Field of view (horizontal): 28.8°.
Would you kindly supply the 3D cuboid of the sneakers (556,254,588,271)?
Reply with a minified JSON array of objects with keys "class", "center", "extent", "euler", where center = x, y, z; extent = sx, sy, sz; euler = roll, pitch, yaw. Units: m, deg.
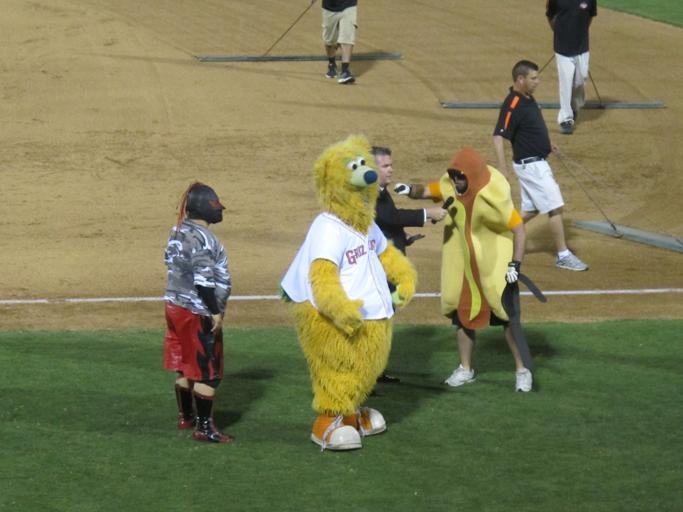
[{"class":"sneakers","center":[3.411,0.081,19.720],"extent":[0.458,0.175,0.217],"euler":[4,13,8]}]

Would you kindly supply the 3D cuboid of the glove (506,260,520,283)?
[{"class":"glove","center":[1.974,0.171,15.344],"extent":[0.180,0.222,0.119],"euler":[13,16,42]}]

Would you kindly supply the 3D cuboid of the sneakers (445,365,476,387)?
[{"class":"sneakers","center":[1.420,1.415,15.846],"extent":[0.431,0.165,0.170],"euler":[-8,15,-21]}]

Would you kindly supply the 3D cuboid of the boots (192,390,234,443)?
[{"class":"boots","center":[-1.300,1.827,14.774],"extent":[0.728,0.677,0.334],"euler":[1,3,-4]}]

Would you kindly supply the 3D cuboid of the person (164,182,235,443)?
[{"class":"person","center":[-1.547,0.614,14.812],"extent":[0.868,2.834,0.567],"euler":[14,15,42]}]

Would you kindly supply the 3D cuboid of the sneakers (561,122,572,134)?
[{"class":"sneakers","center":[4.074,-2.348,24.046],"extent":[0.199,0.220,0.263],"euler":[-2,5,36]}]

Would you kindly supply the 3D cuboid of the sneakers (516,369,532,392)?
[{"class":"sneakers","center":[2.133,1.451,15.602],"extent":[0.155,0.127,0.306],"euler":[-1,34,17]}]
